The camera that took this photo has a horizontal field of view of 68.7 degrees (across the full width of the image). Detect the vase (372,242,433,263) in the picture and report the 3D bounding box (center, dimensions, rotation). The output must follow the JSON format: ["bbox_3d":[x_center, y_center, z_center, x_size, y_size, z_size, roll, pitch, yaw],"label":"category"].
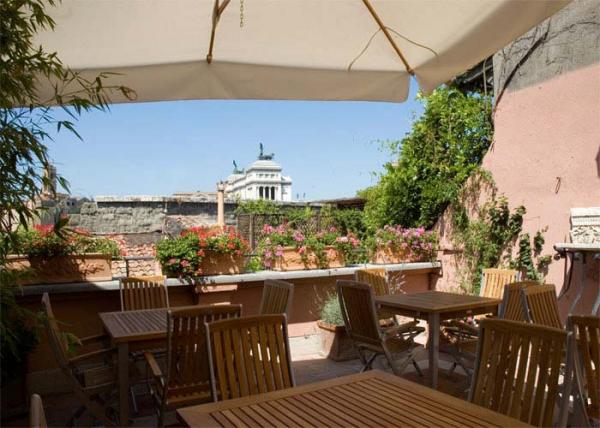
[{"bbox_3d":[1.730,0.667,7.340,1.087,0.316,0.191,-1,0,-22],"label":"vase"}]

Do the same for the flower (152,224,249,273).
[{"bbox_3d":[-1.446,0.319,5.906,0.971,0.485,0.615,-1,0,-33],"label":"flower"}]
